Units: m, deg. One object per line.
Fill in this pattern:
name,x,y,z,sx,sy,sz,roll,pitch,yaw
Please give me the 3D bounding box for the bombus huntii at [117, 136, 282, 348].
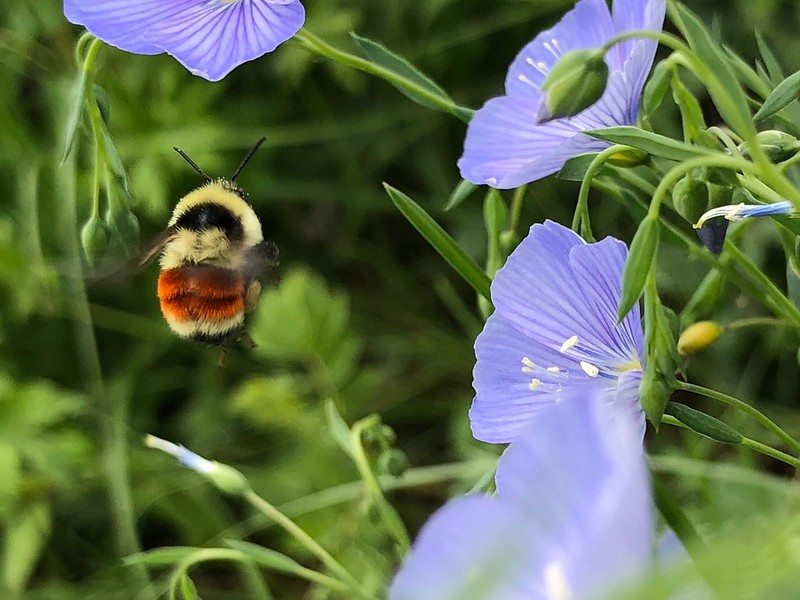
bombus huntii,-0.384,-0.102,1.923,0.236,0.414,0.251,4,1,27
